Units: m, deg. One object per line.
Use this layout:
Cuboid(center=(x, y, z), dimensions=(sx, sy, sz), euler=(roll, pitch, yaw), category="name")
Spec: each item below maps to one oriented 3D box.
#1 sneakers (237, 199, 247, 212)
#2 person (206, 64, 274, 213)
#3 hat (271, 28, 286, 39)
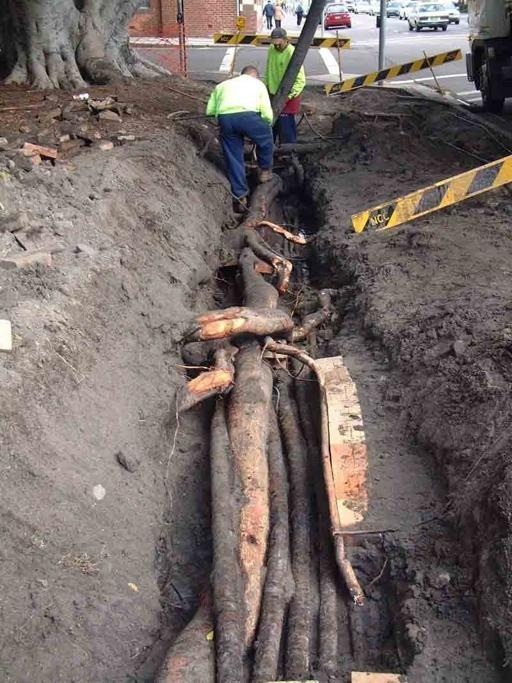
Cuboid(center=(-0.186, -1.792, 7.506), dimensions=(0.176, 0.164, 0.170), euler=(-1, 3, 8), category="sneakers")
Cuboid(center=(-0.129, -2.505, 7.180), dimensions=(0.658, 1.719, 0.965), euler=(9, 25, 22), category="person")
Cuboid(center=(0.311, -4.316, 8.035), dimensions=(0.206, 0.164, 0.344), euler=(0, 22, 2), category="hat")
